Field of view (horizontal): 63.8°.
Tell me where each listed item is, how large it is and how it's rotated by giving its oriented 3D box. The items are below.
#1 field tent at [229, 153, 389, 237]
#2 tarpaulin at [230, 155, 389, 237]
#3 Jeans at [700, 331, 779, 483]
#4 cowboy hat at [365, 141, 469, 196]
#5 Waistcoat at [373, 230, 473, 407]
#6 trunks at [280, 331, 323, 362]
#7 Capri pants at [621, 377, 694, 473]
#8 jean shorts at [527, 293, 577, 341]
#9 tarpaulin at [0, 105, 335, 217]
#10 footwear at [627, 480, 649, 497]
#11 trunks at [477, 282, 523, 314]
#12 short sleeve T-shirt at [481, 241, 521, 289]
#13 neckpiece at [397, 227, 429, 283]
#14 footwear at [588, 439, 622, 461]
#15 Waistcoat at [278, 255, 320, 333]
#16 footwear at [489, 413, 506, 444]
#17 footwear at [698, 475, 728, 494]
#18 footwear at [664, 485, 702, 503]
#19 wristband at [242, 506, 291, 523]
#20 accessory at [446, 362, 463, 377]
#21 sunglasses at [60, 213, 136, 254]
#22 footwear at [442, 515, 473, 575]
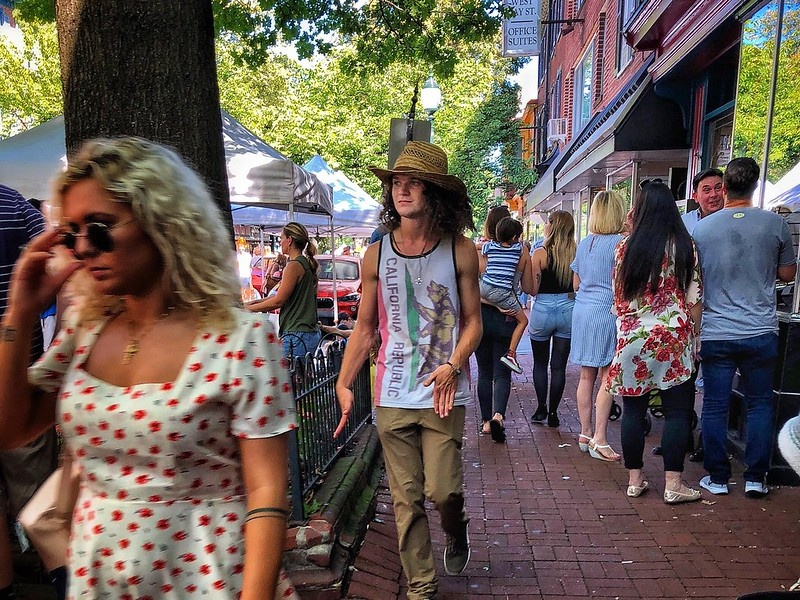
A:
[{"bbox_3d":[-2.168,-1.894,13.697,3.564,1.844,3.589,-1,3,7],"label":"field tent"},{"bbox_3d":[-2.321,-1.931,13.592,3.509,1.837,3.549,-2,2,5],"label":"tarpaulin"},{"bbox_3d":[2.543,0.737,4.833,0.537,1.245,0.398,-2,5,21],"label":"Jeans"},{"bbox_3d":[0.131,-0.744,3.535,0.385,0.146,0.320,25,-12,-38],"label":"cowboy hat"},{"bbox_3d":[0.126,0.047,3.633,0.579,1.072,0.414,-2,19,3],"label":"Waistcoat"},{"bbox_3d":[-0.970,0.481,6.259,0.426,0.359,0.300,1,-15,-8],"label":"trunks"},{"bbox_3d":[1.814,0.779,4.650,0.502,1.076,0.353,-5,28,16],"label":"Capri pants"},{"bbox_3d":[1.504,0.174,6.323,0.512,0.493,0.317,2,10,5],"label":"jean shorts"},{"bbox_3d":[-2.480,-1.366,6.925,2.327,1.131,2.316,0,2,-2],"label":"tarpaulin"},{"bbox_3d":[1.802,1.403,4.867,0.073,0.079,0.195,-6,11,44],"label":"footwear"},{"bbox_3d":[0.926,-0.013,5.976,0.360,0.146,0.349,22,1,-34],"label":"trunks"},{"bbox_3d":[0.960,-0.330,6.024,0.353,0.387,0.226,11,-17,14],"label":"short sleeve T-shirt"},{"bbox_3d":[0.075,-0.235,3.493,0.277,0.268,0.069,3,8,1],"label":"neckpiece"},{"bbox_3d":[1.779,1.298,5.576,0.132,0.086,0.243,-6,9,-44],"label":"footwear"},{"bbox_3d":[-1.087,-0.037,6.601,0.456,0.799,0.580,-3,-1,-8],"label":"Waistcoat"},{"bbox_3d":[0.920,1.224,6.117,0.117,0.294,0.112,-1,15,12],"label":"footwear"},{"bbox_3d":[2.374,1.390,4.877,0.084,0.087,0.200,0,6,-3],"label":"footwear"},{"bbox_3d":[2.063,1.426,4.752,0.308,0.132,0.109,-4,1,-11],"label":"footwear"},{"bbox_3d":[-0.424,0.660,1.993,0.137,0.057,0.057,-2,8,0],"label":"wristband"},{"bbox_3d":[0.288,0.366,3.437,0.089,0.081,0.059,27,51,26],"label":"accessory"},{"bbox_3d":[-0.974,-0.203,2.092,0.151,0.061,0.153,-8,1,11],"label":"sunglasses"},{"bbox_3d":[0.331,1.445,3.721,0.145,0.390,0.157,4,-30,5],"label":"footwear"}]
